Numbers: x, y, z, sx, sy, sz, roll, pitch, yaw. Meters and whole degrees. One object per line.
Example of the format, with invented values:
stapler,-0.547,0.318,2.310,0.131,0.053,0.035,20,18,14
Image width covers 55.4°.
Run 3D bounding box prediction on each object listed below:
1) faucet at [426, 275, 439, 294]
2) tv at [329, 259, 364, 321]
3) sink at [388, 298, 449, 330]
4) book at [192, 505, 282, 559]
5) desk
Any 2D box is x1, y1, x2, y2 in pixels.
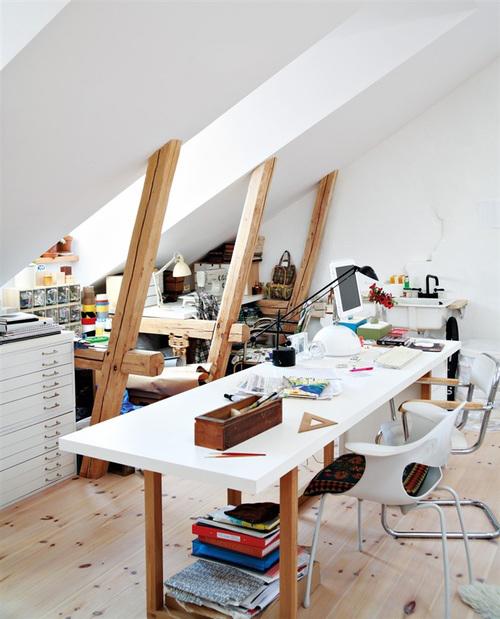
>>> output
faucet,1.875,-0.263,4.908,0.121,0.184,0.495,2,6,22
tv,0.594,-0.128,2.956,0.034,0.295,0.446,-10,0,27
sink,1.533,0.044,4.384,0.397,0.169,0.462,1,4,19
book,-0.039,0.731,1.581,0.177,0.037,0.172,3,6,35
desk,0.053,0.557,1.764,0.717,0.512,1.278,3,7,32
